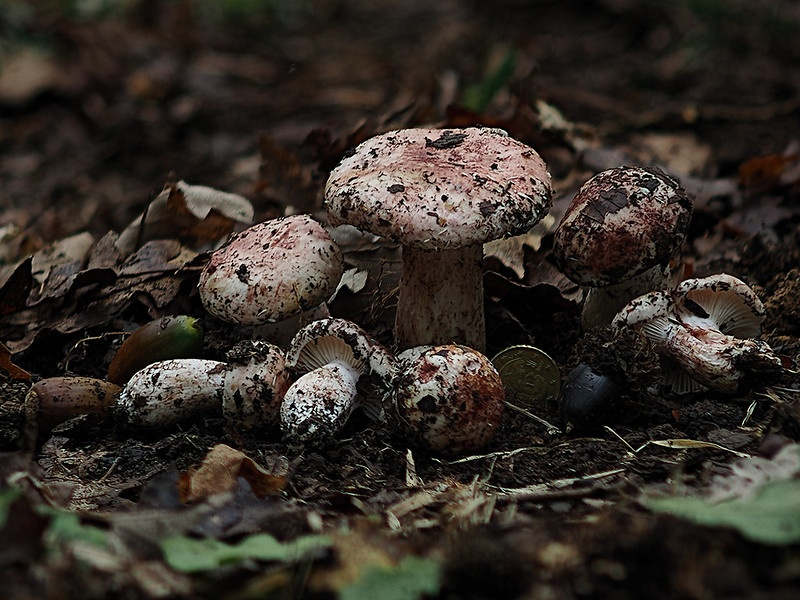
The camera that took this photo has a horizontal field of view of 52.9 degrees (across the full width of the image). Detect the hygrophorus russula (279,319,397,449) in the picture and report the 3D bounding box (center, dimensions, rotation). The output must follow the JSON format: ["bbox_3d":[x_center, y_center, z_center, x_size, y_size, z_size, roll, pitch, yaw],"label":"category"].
[{"bbox_3d":[-0.349,0.438,4.307,0.525,0.525,0.568,-32,41,36],"label":"hygrophorus russula"}]

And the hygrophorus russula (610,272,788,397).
[{"bbox_3d":[1.653,0.113,4.550,0.621,0.834,0.439,-42,92,6],"label":"hygrophorus russula"}]

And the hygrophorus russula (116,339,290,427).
[{"bbox_3d":[-1.028,0.455,4.237,0.795,0.463,0.340,-3,98,-15],"label":"hygrophorus russula"}]

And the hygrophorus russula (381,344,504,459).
[{"bbox_3d":[0.246,0.501,4.043,0.536,0.264,0.512,3,62,9],"label":"hygrophorus russula"}]
